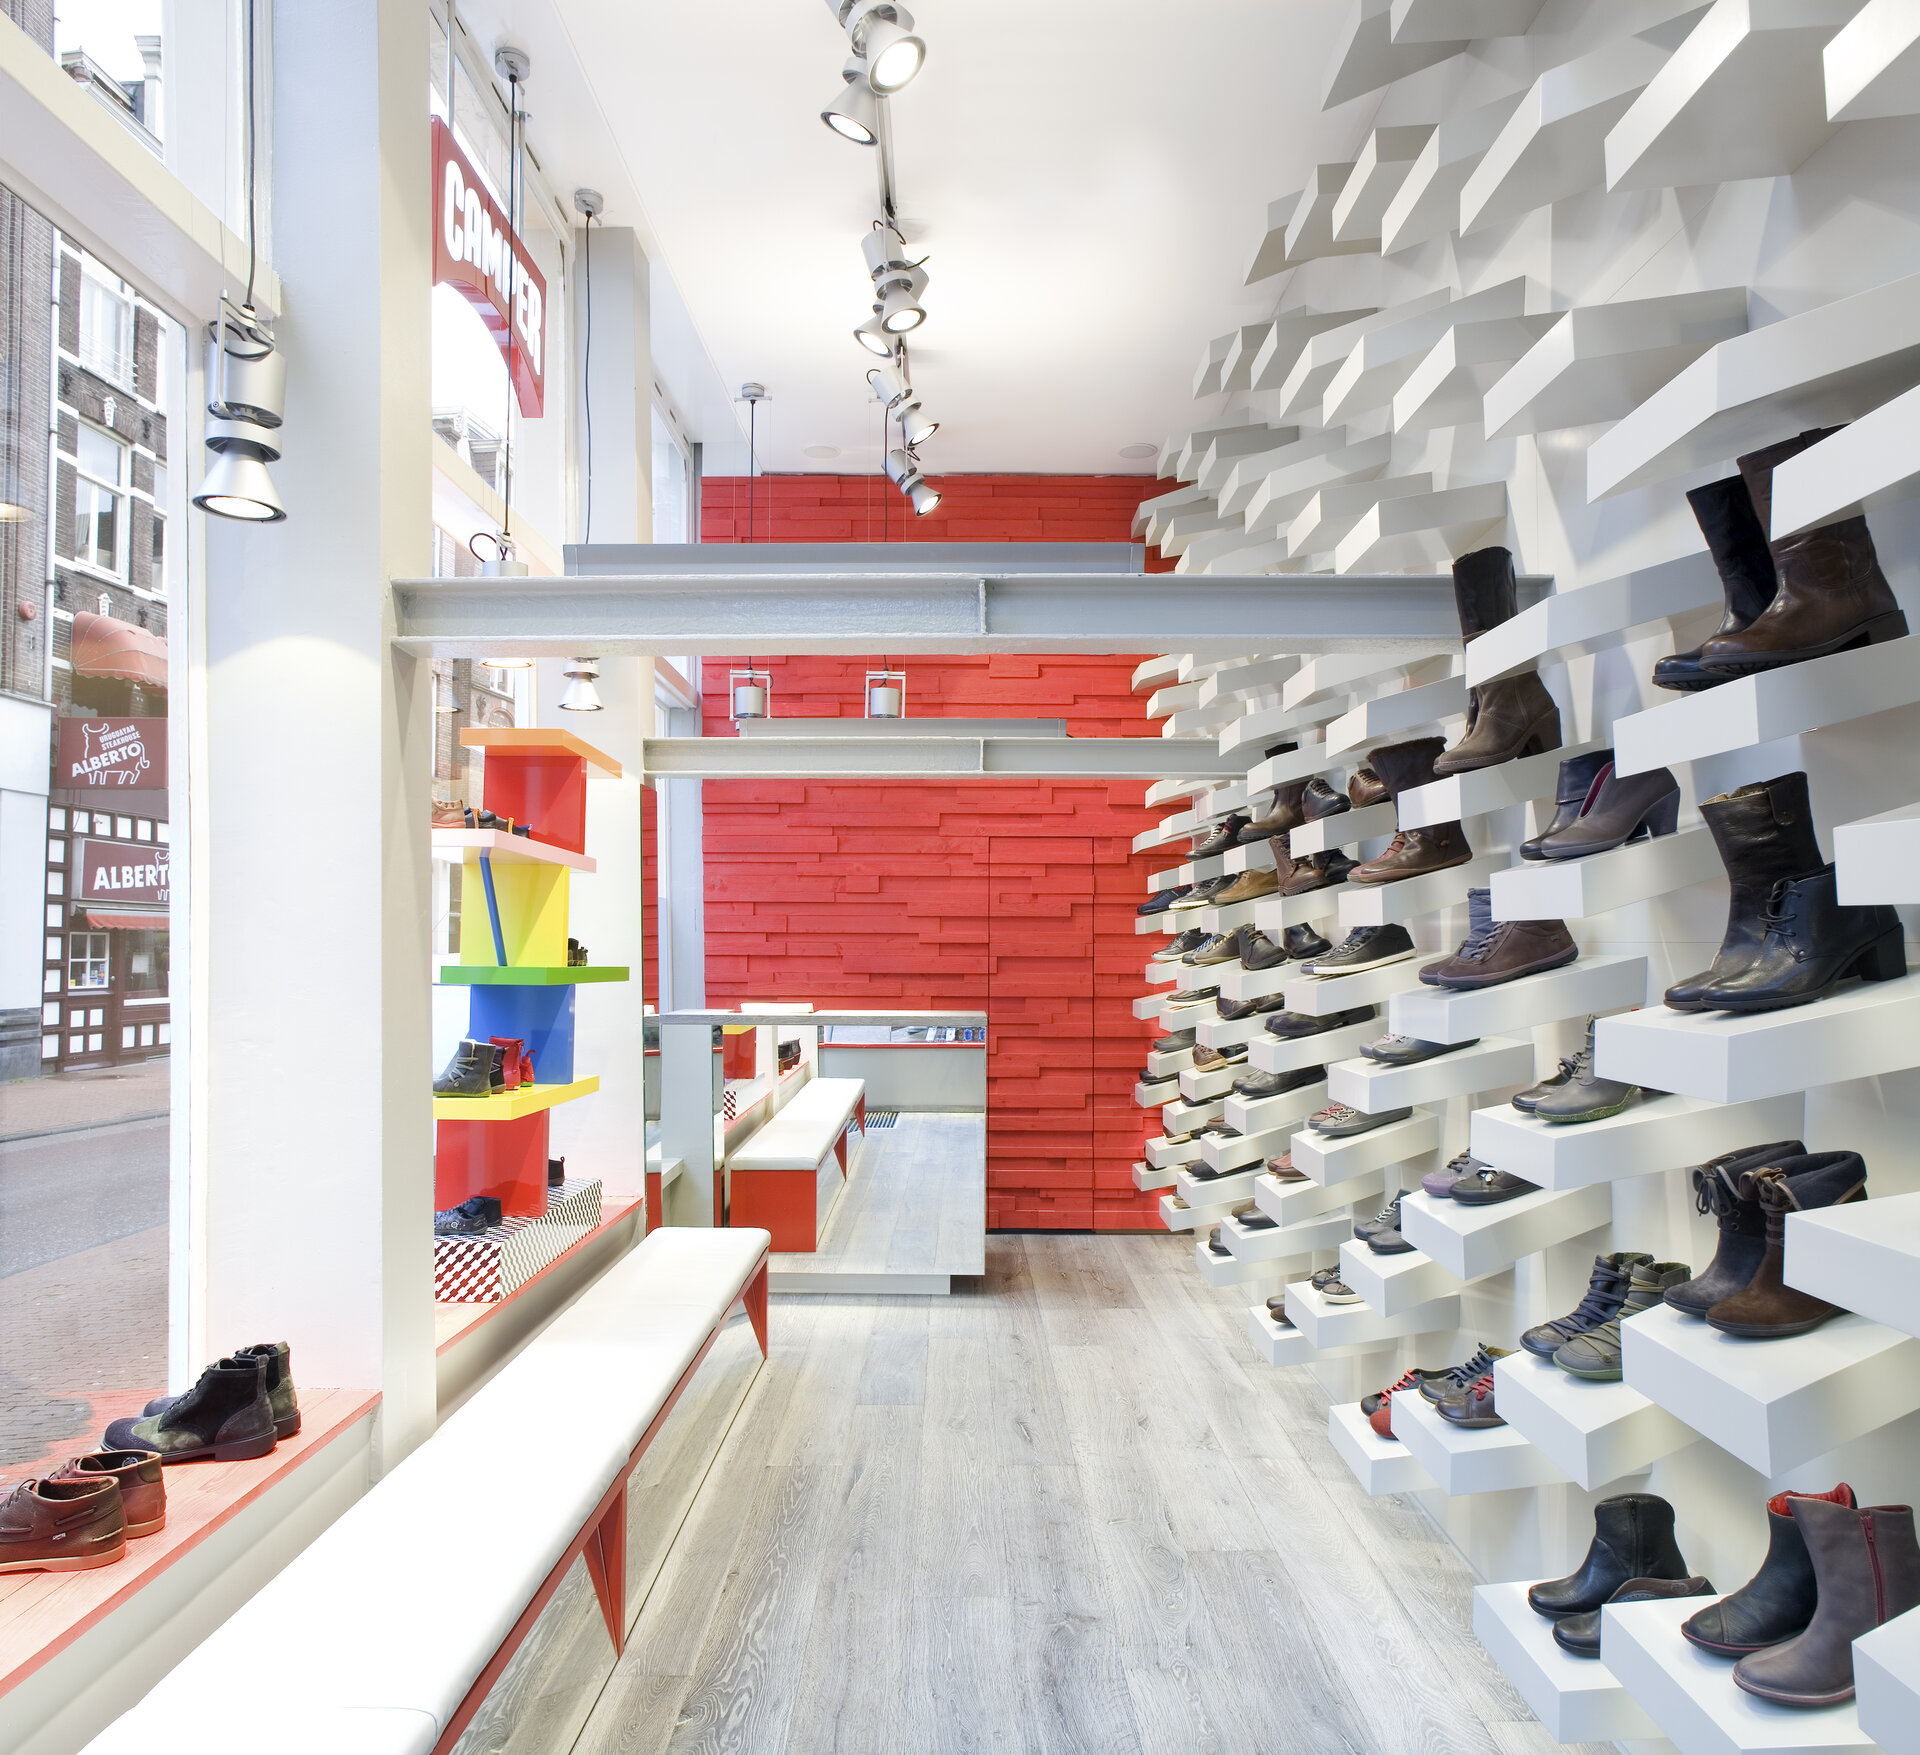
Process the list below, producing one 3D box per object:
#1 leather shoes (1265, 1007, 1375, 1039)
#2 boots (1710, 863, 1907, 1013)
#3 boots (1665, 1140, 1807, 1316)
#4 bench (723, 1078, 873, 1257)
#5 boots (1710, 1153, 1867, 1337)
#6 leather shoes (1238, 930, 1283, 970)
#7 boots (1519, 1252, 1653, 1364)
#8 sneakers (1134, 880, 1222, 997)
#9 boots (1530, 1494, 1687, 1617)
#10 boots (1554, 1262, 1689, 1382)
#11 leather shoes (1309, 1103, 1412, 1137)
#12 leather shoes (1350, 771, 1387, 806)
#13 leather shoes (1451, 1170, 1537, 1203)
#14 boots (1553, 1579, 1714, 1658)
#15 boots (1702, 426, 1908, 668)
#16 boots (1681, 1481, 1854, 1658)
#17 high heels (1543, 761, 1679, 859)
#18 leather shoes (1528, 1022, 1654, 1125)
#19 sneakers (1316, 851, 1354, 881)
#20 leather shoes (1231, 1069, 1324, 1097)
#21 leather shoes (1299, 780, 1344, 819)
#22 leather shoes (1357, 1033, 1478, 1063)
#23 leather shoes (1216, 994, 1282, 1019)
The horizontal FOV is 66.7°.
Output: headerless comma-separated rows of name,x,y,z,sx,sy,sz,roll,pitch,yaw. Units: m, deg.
leather shoes,1.035,0.405,4.083,0.333,0.130,0.112,2,-4,-11
boots,1.223,0.084,2.107,0.346,0.169,0.125,-14,3,-8
boots,1.171,0.540,2.264,0.319,0.218,0.106,-8,3,-36
bench,-0.709,1.255,6.405,0.478,0.609,0.696,1,0,9
boots,1.217,0.538,2.143,0.250,0.296,0.102,1,0,-12
leather shoes,0.953,0.237,4.673,0.120,0.075,0.194,0,3,13
boots,1.181,0.791,2.742,0.350,0.154,0.113,-14,-9,-33
sneakers,0.862,0.224,5.764,0.200,0.287,0.682,-10,-5,9
boots,1.163,1.209,2.645,0.285,0.200,0.101,-9,8,-7
boots,1.200,0.804,2.659,0.249,0.219,0.111,1,0,-29
leather shoes,1.060,0.658,3.936,0.288,0.104,0.103,-1,-7,5
leather shoes,1.070,-0.232,3.811,0.078,0.094,0.230,1,4,10
leather shoes,1.082,0.633,2.977,0.172,0.054,0.062,2,-6,0
boots,1.193,1.256,2.527,0.324,0.129,0.123,-1,-16,-8
boots,1.218,-0.399,2.098,0.237,0.354,0.165,1,0,-36
boots,1.216,1.043,2.194,0.300,0.201,0.114,-3,6,-12
high heels,1.189,-0.121,2.571,0.331,0.142,0.110,-10,4,-24
leather shoes,1.144,0.379,2.652,0.110,0.154,0.338,-6,-7,43
sneakers,1.042,-0.031,4.089,0.115,0.112,0.069,-6,1,6
leather shoes,0.982,0.637,4.514,0.295,0.112,0.097,2,-9,-19
leather shoes,1.022,-0.221,4.117,0.108,0.128,0.328,0,5,10
leather shoes,1.051,0.399,3.332,0.241,0.073,0.086,2,-6,-7
leather shoes,0.972,0.445,4.926,0.215,0.085,0.071,-8,-1,15
